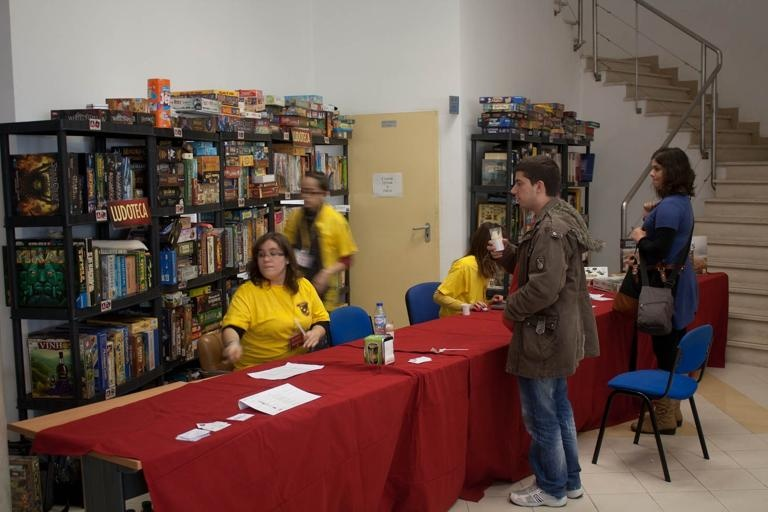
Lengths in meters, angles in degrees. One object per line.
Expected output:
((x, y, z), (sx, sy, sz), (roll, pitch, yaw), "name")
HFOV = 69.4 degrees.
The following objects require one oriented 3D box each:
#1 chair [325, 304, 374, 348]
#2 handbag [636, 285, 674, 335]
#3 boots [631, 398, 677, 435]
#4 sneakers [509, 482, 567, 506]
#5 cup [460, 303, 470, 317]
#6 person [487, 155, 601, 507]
((-0.313, 0.558, 4.413), (0.257, 0.366, 0.295), (-2, -1, -36), "chair")
((2.133, 0.419, 4.336), (0.315, 0.457, 0.232), (3, -15, 9), "handbag")
((2.326, 1.375, 4.708), (0.379, 0.380, 0.160), (-18, -50, 44), "boots")
((1.017, 1.607, 3.769), (0.398, 0.185, 0.148), (5, -5, 4), "sneakers")
((0.661, 0.443, 4.554), (0.065, 0.073, 0.082), (-1, -3, 11), "cup")
((1.085, 0.523, 3.626), (0.564, 2.293, 0.537), (4, 14, 23), "person")
